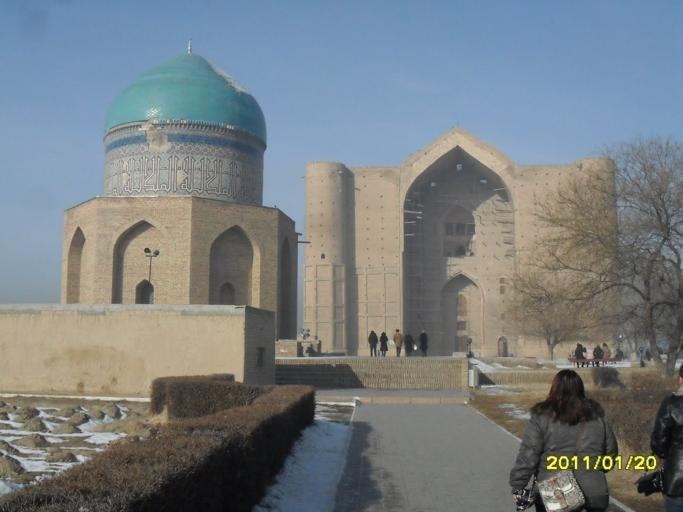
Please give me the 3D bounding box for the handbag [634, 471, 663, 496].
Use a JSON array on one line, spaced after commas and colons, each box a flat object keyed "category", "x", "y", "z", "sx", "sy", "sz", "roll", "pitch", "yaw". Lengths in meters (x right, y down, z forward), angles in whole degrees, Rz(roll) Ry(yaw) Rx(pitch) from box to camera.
[{"category": "handbag", "x": 4.537, "y": 3.275, "z": 15.654, "sx": 0.305, "sy": 0.144, "sz": 0.405, "roll": -15, "pitch": 17, "yaw": 21}]
